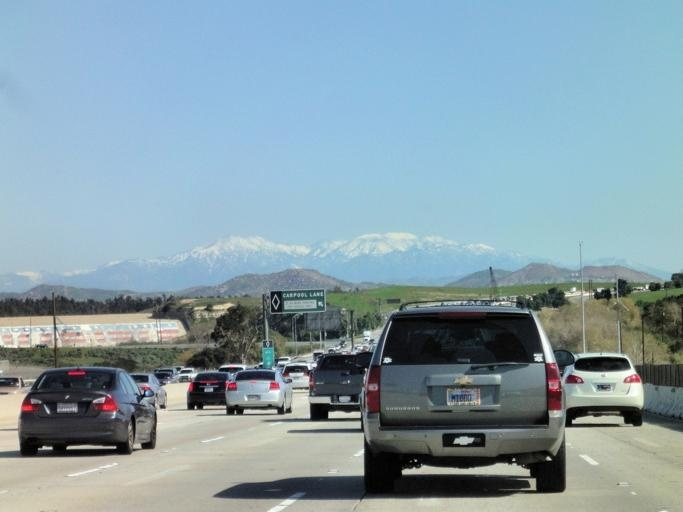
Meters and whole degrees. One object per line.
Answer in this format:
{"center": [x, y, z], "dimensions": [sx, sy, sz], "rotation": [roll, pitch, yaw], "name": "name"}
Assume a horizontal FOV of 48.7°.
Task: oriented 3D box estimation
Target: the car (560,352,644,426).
{"center": [7.877, 4.230, 22.621], "dimensions": [2.278, 2.106, 4.303], "rotation": [0, 1, 8], "name": "car"}

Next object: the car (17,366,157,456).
{"center": [-5.652, 3.458, 16.847], "dimensions": [2.791, 1.969, 2.014], "rotation": [3, -11, -29], "name": "car"}
